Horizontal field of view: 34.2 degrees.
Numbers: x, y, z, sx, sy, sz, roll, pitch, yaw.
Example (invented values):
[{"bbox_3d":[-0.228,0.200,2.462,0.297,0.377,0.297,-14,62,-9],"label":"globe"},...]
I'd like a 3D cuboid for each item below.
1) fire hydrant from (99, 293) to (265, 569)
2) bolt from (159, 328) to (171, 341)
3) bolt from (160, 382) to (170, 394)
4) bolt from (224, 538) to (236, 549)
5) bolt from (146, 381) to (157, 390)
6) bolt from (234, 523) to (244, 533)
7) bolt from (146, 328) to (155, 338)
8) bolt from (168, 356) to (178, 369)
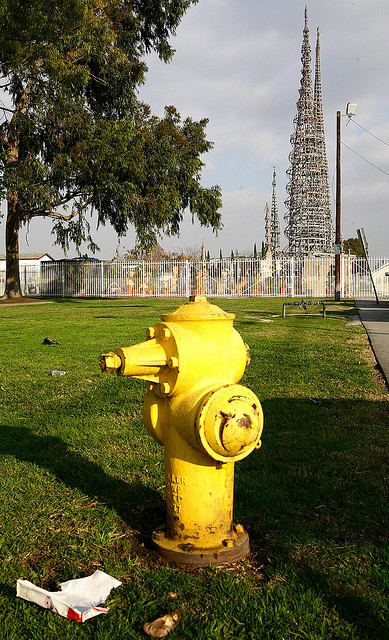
[{"bbox_3d":[-0.032,0.491,2.852,0.681,1.161,0.469,-1,3,6],"label":"fire hydrant"},{"bbox_3d":[-0.133,0.068,2.837,0.037,0.051,0.098,-2,4,-12],"label":"bolt"},{"bbox_3d":[-0.130,0.304,2.823,0.029,0.043,0.062,-3,4,-17],"label":"bolt"},{"bbox_3d":[0.165,0.997,2.873,0.027,0.031,0.028,7,9,41],"label":"bolt"},{"bbox_3d":[-0.207,0.309,2.991,0.049,0.052,0.052,-1,-3,1],"label":"bolt"},{"bbox_3d":[0.215,0.985,3.042,0.042,0.023,0.061,-2,-2,2],"label":"bolt"},{"bbox_3d":[-0.210,0.061,2.938,0.030,0.062,0.040,1,-5,-12],"label":"bolt"},{"bbox_3d":[-0.093,0.192,2.763,0.030,0.052,0.055,-3,4,-28],"label":"bolt"}]
